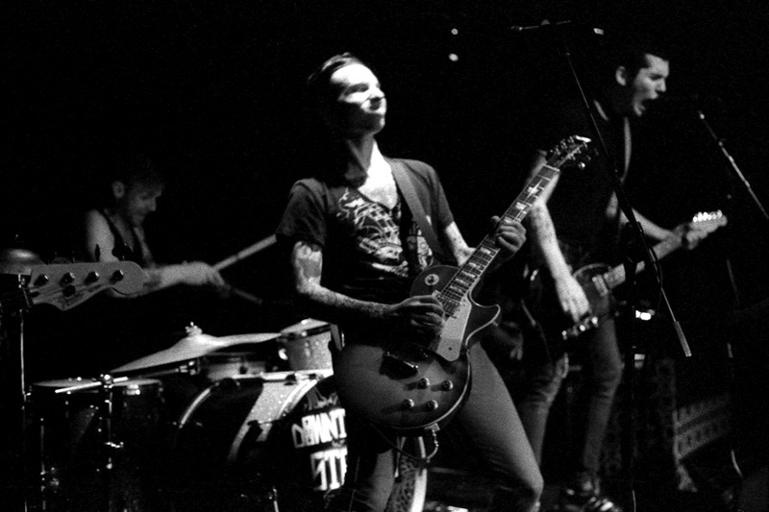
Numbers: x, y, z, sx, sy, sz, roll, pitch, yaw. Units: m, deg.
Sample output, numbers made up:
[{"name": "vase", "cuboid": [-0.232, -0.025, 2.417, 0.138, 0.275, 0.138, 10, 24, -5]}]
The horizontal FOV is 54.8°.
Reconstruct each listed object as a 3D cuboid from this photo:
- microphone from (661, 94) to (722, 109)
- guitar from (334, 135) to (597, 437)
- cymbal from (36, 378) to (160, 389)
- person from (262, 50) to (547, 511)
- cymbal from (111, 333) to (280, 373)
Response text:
[{"name": "microphone", "cuboid": [1.967, -0.979, 4.736, 0.379, 0.038, 0.138, -12, 39, -16]}, {"name": "guitar", "cuboid": [0.492, 0.261, 4.208, 0.677, 1.805, 0.201, 40, -15, 3]}, {"name": "cymbal", "cuboid": [-1.962, 0.863, 5.007, 0.812, 0.071, 0.307, -2, -6, 11]}, {"name": "person", "cuboid": [-0.061, -0.006, 4.109, 1.152, 2.925, 0.482, -29, -9, 38]}, {"name": "cymbal", "cuboid": [-1.317, 0.642, 5.050, 0.540, 0.120, 0.523, -14, 1, -27]}]
